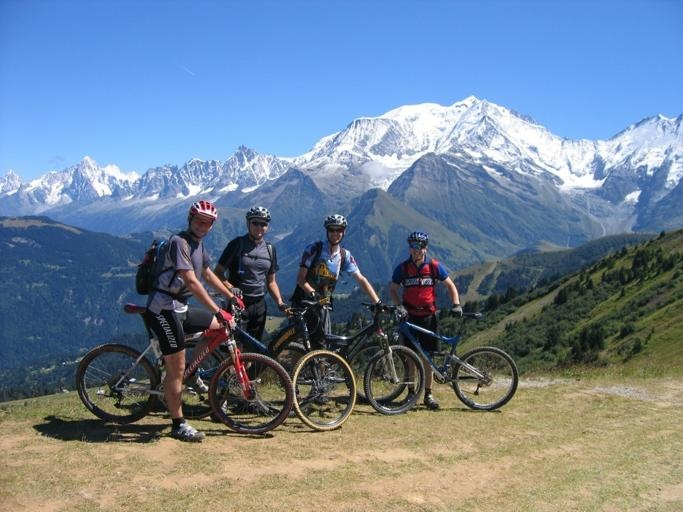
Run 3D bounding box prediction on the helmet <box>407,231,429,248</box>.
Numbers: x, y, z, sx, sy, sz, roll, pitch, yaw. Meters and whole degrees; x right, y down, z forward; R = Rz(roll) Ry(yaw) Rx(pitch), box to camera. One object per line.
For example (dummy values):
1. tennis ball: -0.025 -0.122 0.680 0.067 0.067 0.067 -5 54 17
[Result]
1. helmet: 2.449 -0.525 19.012 0.494 0.607 0.482 3 1 10
